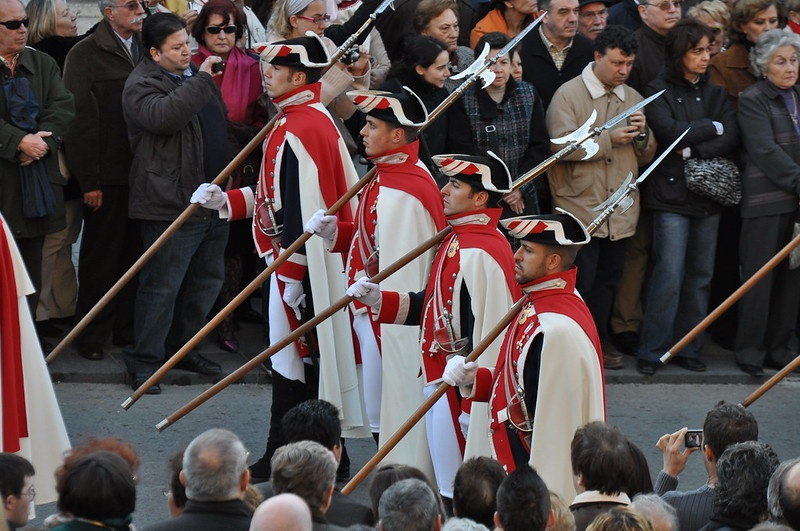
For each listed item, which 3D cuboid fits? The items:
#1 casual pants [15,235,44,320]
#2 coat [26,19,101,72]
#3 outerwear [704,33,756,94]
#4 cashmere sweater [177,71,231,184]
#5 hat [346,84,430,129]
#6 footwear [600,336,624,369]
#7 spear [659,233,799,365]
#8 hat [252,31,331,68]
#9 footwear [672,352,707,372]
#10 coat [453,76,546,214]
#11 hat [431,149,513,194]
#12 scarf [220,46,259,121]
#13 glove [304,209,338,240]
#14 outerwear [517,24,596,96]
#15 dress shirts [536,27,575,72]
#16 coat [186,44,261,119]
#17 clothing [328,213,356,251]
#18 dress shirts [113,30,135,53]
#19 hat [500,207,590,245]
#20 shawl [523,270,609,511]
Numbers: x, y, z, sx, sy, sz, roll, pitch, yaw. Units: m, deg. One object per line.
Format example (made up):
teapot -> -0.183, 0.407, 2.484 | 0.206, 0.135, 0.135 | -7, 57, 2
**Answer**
casual pants -> -2.932, 0.169, 11.752 | 0.185, 0.801, 0.231 | -16, 26, -30
coat -> -2.895, -1.870, 12.426 | 0.547, 0.191, 0.479 | -20, -6, 0
outerwear -> 2.877, -1.752, 12.701 | 0.574, 0.538, 0.317 | 4, 16, 1
cashmere sweater -> -1.536, -1.194, 12.219 | 0.719, 0.698, 0.872 | -5, 23, -3
hat -> -0.080, -1.128, 10.310 | 0.441, 0.190, 0.300 | 12, 11, -14
footwear -> 1.819, 0.756, 12.694 | 0.145, 0.152, 0.410 | -1, 12, -11
spear -> 2.793, 0.244, 12.404 | 0.071, 1.590, 0.160 | 50, 1, 22
hat -> -0.816, -1.615, 10.795 | 0.573, 0.205, 0.396 | 2, 21, -15
footwear -> 2.500, 0.834, 12.672 | 0.348, 0.134, 0.130 | 8, 1, 44
coat -> 0.835, -1.009, 12.067 | 0.875, 1.090, 0.353 | 1, -3, -14
hat -> 0.485, -0.607, 9.843 | 0.440, 0.188, 0.285 | 17, 3, -10
scarf -> -1.347, -1.533, 12.378 | 0.490, 0.553, 0.237 | 7, 14, 31
glove -> -0.566, -0.300, 10.496 | 0.205, 0.124, 0.141 | 27, -44, -32
outerwear -> 1.312, -1.738, 12.445 | 0.605, 0.517, 0.304 | 11, 13, -14
dress shirts -> 1.312, -1.877, 12.527 | 0.288, 0.343, 0.136 | 2, 10, 6
coat -> -1.367, -1.560, 12.502 | 0.648, 0.580, 0.257 | 5, -1, -8
clothing -> -0.440, -0.235, 10.574 | 0.202, 0.215, 0.179 | 5, 8, -42
dress shirts -> -2.279, -1.849, 11.996 | 0.164, 0.194, 0.075 | -4, -5, -10
hat -> 0.933, -0.238, 9.325 | 0.392, 0.136, 0.279 | 5, 4, -6
shawl -> 1.054, 0.889, 9.229 | 0.499, 1.185, 0.191 | 7, -9, -3
